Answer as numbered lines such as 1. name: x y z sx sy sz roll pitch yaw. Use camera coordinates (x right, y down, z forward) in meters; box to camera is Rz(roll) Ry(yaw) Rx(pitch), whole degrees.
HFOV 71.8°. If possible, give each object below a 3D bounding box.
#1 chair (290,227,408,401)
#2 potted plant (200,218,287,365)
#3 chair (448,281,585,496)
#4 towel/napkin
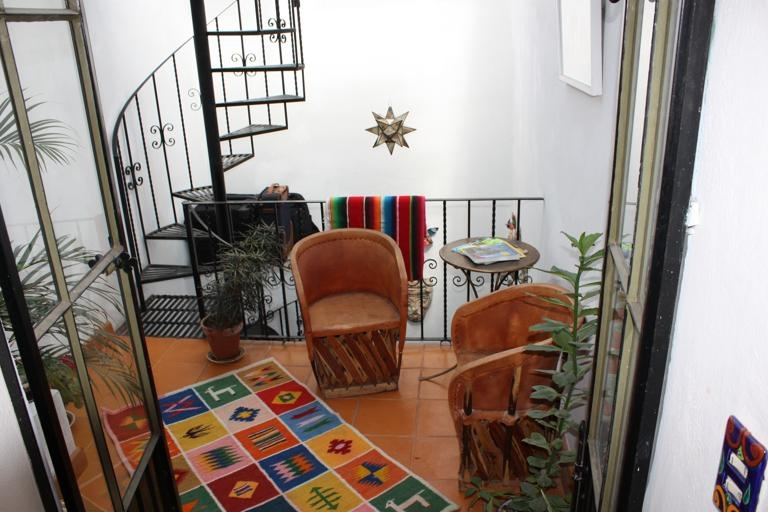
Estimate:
1. chair: -0.238 0.396 3.676 0.742 0.941 0.692 -3 23 -5
2. potted plant: -1.144 0.289 4.302 0.620 1.097 0.788 23 34 17
3. chair: 0.687 0.816 2.731 0.489 0.555 0.391 -7 -10 11
4. towel/napkin: -0.069 -0.137 3.824 0.657 0.564 0.091 0 10 0
